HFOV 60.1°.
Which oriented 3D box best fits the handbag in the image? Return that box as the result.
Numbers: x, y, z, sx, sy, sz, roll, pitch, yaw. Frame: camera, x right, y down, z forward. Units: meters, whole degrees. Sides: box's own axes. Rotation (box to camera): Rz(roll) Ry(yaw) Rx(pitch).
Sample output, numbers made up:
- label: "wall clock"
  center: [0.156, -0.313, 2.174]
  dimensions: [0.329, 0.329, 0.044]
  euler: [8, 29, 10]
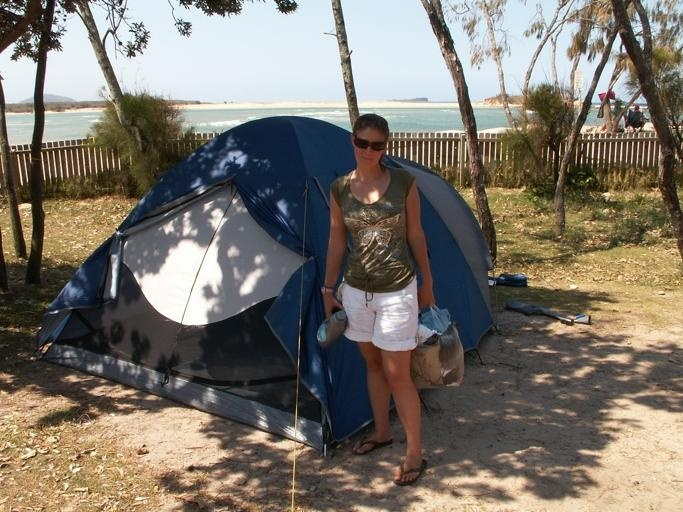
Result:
- label: "handbag"
  center: [0.800, 0.850, 4.758]
  dimensions: [0.528, 0.541, 0.394]
  euler: [4, 0, -31]

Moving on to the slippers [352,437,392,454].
- label: "slippers"
  center: [0.272, 1.634, 5.187]
  dimensions: [0.322, 0.082, 0.132]
  euler: [-4, 15, -14]

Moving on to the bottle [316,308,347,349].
- label: "bottle"
  center: [-0.071, 0.585, 4.756]
  dimensions: [0.123, 0.317, 0.183]
  euler: [-11, 51, -49]

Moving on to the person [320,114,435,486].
- label: "person"
  center: [0.311, 0.368, 4.782]
  dimensions: [0.788, 2.988, 0.486]
  euler: [0, 8, 29]
